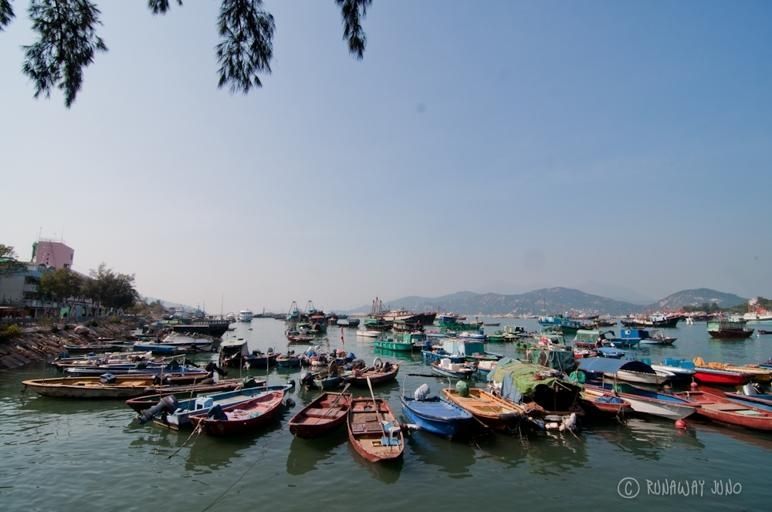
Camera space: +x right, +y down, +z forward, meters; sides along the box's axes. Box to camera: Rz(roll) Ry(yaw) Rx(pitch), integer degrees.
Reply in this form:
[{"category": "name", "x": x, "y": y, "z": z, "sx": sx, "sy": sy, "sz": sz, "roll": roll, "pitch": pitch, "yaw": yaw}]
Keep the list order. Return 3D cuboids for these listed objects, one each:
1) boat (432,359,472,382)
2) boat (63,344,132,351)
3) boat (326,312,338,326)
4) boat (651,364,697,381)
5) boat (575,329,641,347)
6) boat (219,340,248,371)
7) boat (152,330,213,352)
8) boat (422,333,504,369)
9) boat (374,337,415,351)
[{"category": "boat", "x": 7.557, "y": 13.695, "z": 56.856, "sx": 3.229, "sy": 1.661, "sz": 4.860, "roll": -1, "pitch": 2, "yaw": -31}, {"category": "boat", "x": -40.285, "y": 13.610, "z": 68.837, "sx": 7.703, "sy": 1.415, "sz": 2.149, "roll": 10, "pitch": -14, "yaw": -34}, {"category": "boat", "x": -19.327, "y": 24.647, "z": 178.485, "sx": 2.988, "sy": 3.718, "sz": 5.140, "roll": 2, "pitch": -17, "yaw": -13}, {"category": "boat", "x": 30.755, "y": 12.870, "z": 52.124, "sx": 2.125, "sy": 1.731, "sz": 6.416, "roll": 1, "pitch": -12, "yaw": 5}, {"category": "boat", "x": 37.533, "y": 14.889, "z": 83.185, "sx": 9.476, "sy": 2.980, "sz": 5.660, "roll": 1, "pitch": -10, "yaw": 9}, {"category": "boat", "x": -19.082, "y": 12.927, "z": 61.139, "sx": 2.811, "sy": 1.800, "sz": 4.751, "roll": 4, "pitch": -7, "yaw": -20}, {"category": "boat", "x": -31.373, "y": 14.634, "z": 76.593, "sx": 8.201, "sy": 2.910, "sz": 3.916, "roll": 7, "pitch": -8, "yaw": -12}, {"category": "boat", "x": 8.846, "y": 13.705, "z": 68.290, "sx": 4.760, "sy": 3.136, "sz": 11.984, "roll": 5, "pitch": -13, "yaw": -23}, {"category": "boat", "x": 1.422, "y": 15.612, "z": 80.857, "sx": 4.905, "sy": 1.101, "sz": 2.804, "roll": -5, "pitch": -8, "yaw": 42}]
